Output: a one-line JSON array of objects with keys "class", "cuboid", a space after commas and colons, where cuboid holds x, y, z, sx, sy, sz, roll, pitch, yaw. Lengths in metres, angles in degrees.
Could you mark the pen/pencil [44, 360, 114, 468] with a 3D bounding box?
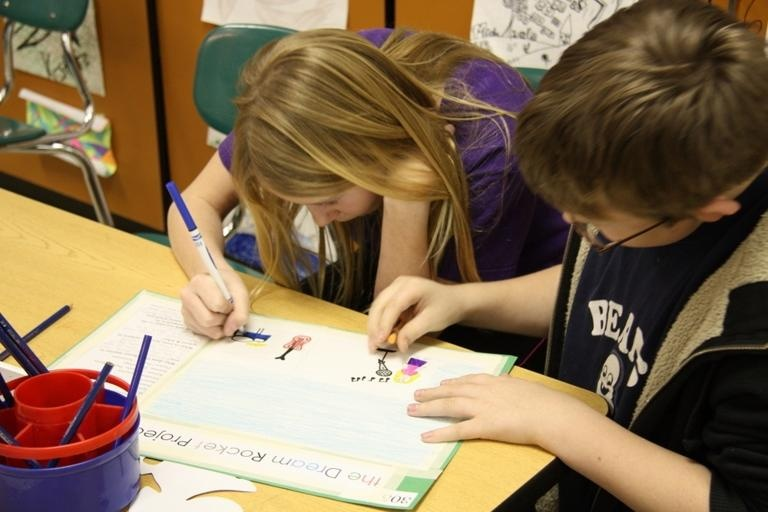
[{"class": "pen/pencil", "cuboid": [-0.390, 0.205, 0.784, 0.015, 0.141, 0.018, 29, 5, -3]}]
